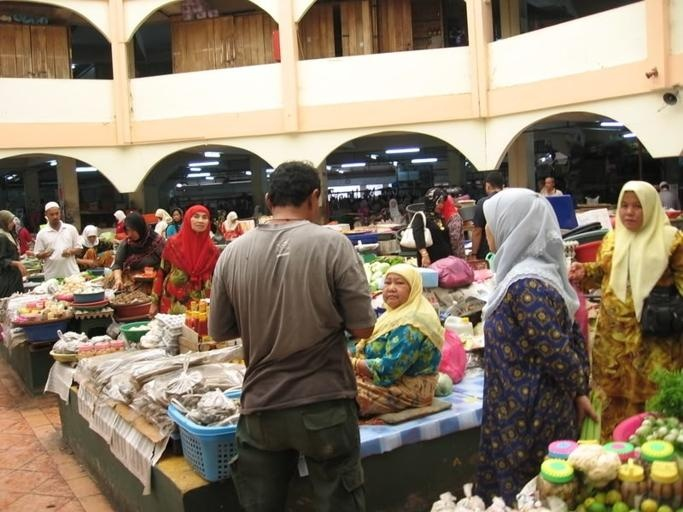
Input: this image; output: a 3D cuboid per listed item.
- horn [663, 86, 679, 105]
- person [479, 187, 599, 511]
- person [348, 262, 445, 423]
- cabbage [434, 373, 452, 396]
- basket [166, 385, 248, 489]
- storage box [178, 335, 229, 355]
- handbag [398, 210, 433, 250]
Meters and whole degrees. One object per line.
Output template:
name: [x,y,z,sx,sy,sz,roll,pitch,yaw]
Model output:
horn: [5.286,-2.557,8.961,0.217,0.230,0.209,-3,-26,-46]
person: [0.963,0.472,2.839,0.595,1.619,0.417,-2,7,13]
person: [0.322,0.695,3.844,0.658,1.237,0.621,0,-1,-3]
cabbage: [0.733,0.892,4.031,0.127,0.179,0.101,-5,-17,-18]
basket: [-0.780,1.016,3.204,0.345,0.257,0.460,-2,6,-34]
storage box: [-1.150,0.703,4.484,0.290,0.097,0.273,-1,1,-39]
handbag: [1.016,-0.501,7.760,0.379,0.851,0.772,-2,1,-7]
